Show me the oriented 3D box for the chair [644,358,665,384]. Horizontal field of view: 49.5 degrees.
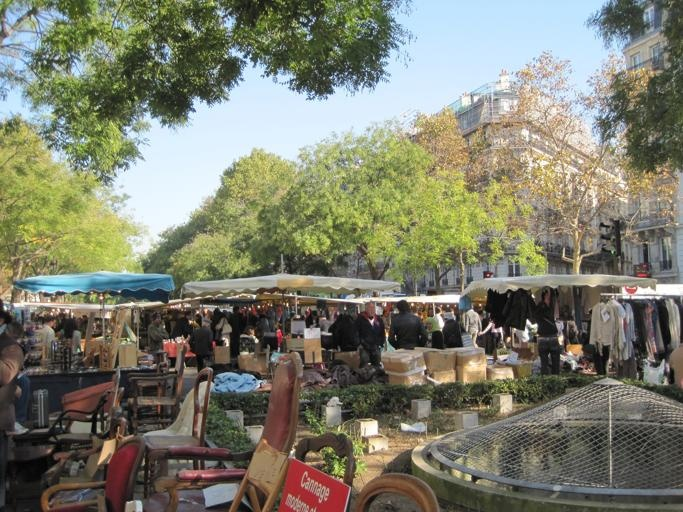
[{"bbox_3d":[7.522,2.807,17.909,0.438,0.660,0.361,3,-6,27],"label":"chair"}]
